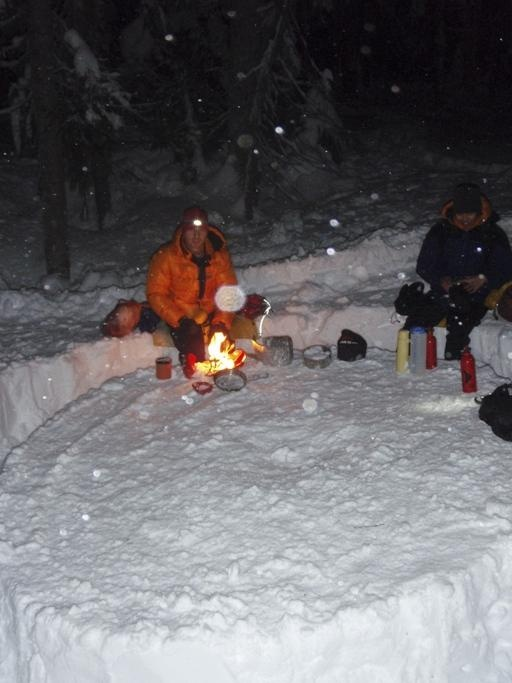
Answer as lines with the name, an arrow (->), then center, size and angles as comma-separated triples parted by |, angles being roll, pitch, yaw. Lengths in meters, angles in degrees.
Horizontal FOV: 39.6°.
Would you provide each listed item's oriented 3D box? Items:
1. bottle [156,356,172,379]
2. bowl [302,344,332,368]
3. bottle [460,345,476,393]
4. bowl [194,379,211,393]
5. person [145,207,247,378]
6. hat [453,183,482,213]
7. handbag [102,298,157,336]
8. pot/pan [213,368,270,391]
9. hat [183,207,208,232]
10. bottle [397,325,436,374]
bottle -> -0.777, 0.223, 6.064 | 0.173, 0.165, 0.179 | 6, 8, 44
bowl -> 0.526, 0.135, 6.218 | 0.251, 0.176, 0.306 | 2, 7, 36
bottle -> 1.625, 0.218, 5.452 | 0.113, 0.330, 0.212 | 0, 6, 15
bowl -> -0.440, 0.368, 5.797 | 0.169, 0.094, 0.242 | -2, 5, -6
person -> -0.504, -0.444, 6.325 | 0.734, 1.419, 0.567 | -7, 8, -40
hat -> 1.847, -1.223, 6.143 | 0.263, 0.227, 0.265 | 7, 24, 44
handbag -> -1.132, -0.207, 6.409 | 0.460, 0.307, 0.196 | -8, -12, -27
pot/pan -> -0.145, 0.315, 5.898 | 0.359, 0.045, 0.192 | -5, 23, -24
hat -> -0.512, -1.024, 5.977 | 0.241, 0.213, 0.224 | 2, 9, 6
bottle -> 1.295, 0.076, 5.820 | 0.420, 0.418, 0.339 | -2, 2, 7
